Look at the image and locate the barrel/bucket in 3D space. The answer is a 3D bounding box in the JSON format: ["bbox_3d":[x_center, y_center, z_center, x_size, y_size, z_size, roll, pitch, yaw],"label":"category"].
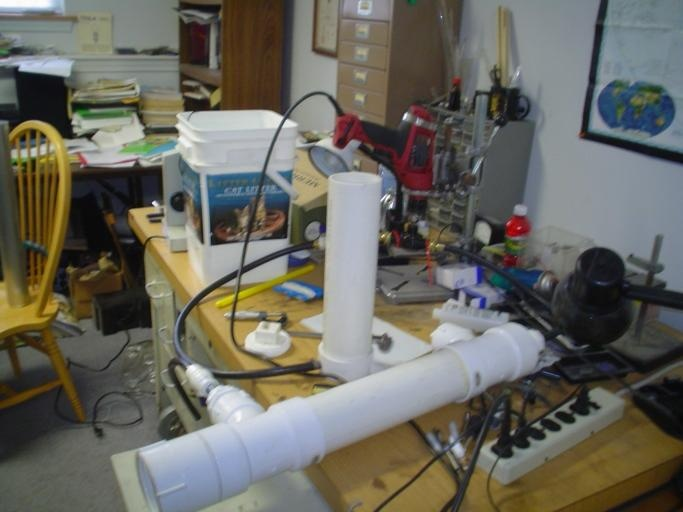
[{"bbox_3d":[-0.286,-0.200,1.515,0.392,0.529,0.400,2,25,-1],"label":"barrel/bucket"}]

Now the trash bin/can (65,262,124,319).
[{"bbox_3d":[-1.257,0.173,2.836,0.297,0.324,0.244,-4,12,-27],"label":"trash bin/can"}]
